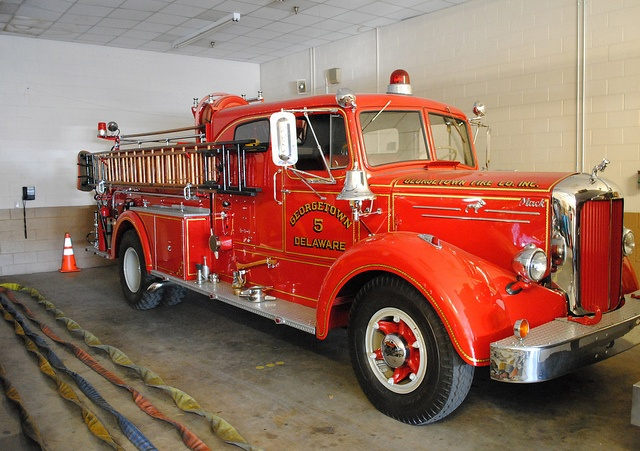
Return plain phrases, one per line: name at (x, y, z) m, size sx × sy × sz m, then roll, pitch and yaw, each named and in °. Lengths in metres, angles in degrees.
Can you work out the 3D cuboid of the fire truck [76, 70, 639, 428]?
fire truck at (-0.143, 0.074, 5.763) m, size 2.911 × 2.596 × 6.151 m, roll -1°, pitch 4°, yaw -42°
